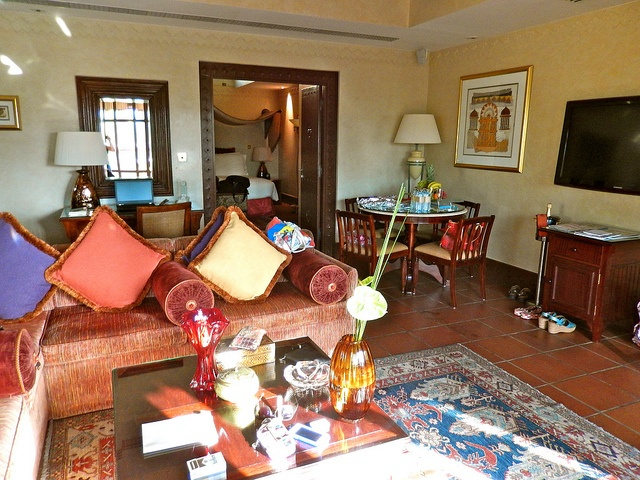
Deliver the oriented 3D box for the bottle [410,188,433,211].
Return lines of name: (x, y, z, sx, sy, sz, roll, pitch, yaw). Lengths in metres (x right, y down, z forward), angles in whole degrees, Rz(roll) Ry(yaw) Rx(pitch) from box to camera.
bottle: (1.077, -0.432, 4.763, 0.257, 0.253, 0.243, 4, 9, 28)

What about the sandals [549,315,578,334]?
sandals: (2.159, 0.743, 3.963, 0.312, 0.122, 0.111, -3, 8, -30)

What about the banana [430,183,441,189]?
banana: (1.292, -0.609, 5.017, 0.102, 0.034, 0.134, 0, -3, 12)

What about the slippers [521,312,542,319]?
slippers: (1.973, 0.701, 4.177, 0.184, 0.069, 0.062, 0, 7, -9)

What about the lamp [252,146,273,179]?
lamp: (-1.322, -1.741, 10.131, 0.480, 0.686, 0.485, -5, 11, -36)

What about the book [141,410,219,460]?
book: (-0.626, 0.860, 1.996, 0.337, 0.077, 0.175, -1, 13, -10)

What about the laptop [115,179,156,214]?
laptop: (-2.046, -0.472, 4.901, 0.388, 0.292, 0.281, -5, -12, -29)

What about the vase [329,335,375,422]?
vase: (0.148, 0.661, 2.134, 0.235, 0.354, 0.225, 3, 0, 15)

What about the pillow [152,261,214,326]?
pillow: (-1.008, 0.350, 3.170, 0.342, 0.294, 0.667, 2, 11, -30)

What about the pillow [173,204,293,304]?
pillow: (-0.714, 0.169, 3.463, 0.752, 0.759, 0.222, -50, 9, -30)

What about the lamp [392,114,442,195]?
lamp: (1.324, -1.169, 6.150, 0.639, 1.071, 0.669, 4, 14, 13)

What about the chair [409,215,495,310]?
chair: (1.362, 0.152, 4.644, 0.575, 0.835, 0.620, -6, 13, -29)

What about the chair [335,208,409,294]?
chair: (0.750, 0.129, 4.758, 0.645, 0.760, 0.648, -5, 0, 39)

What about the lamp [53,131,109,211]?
lamp: (-2.496, -0.703, 4.677, 0.657, 0.760, 0.631, -6, 7, -33)

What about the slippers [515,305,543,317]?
slippers: (2.000, 0.684, 4.259, 0.211, 0.076, 0.111, -1, 7, -33)

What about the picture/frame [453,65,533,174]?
picture/frame: (2.097, -1.445, 5.463, 0.076, 1.165, 1.064, -7, 15, -27)

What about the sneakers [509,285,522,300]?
sneakers: (2.055, 0.546, 4.690, 0.089, 0.080, 0.237, 5, 16, 31)

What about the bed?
bed: (-1.614, -1.060, 8.637, 1.162, 0.994, 1.584, -9, 17, -29)
